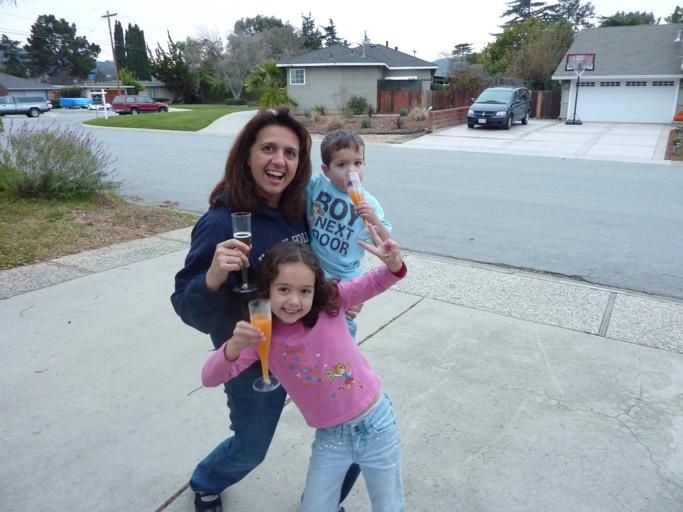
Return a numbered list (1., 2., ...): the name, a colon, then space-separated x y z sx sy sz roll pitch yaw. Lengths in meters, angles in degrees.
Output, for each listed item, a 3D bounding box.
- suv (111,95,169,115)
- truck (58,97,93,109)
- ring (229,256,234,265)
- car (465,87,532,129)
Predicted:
1. suv: -18.288 -13.539 40.431 4.295 1.583 1.707 -6 21 -19
2. truck: -33.146 -19.106 56.058 3.552 1.081 2.253 2 20 5
3. ring: -0.503 0.018 2.050 0.024 0.033 0.031 0 0 -2
4. car: 9.026 -8.473 25.700 1.950 2.251 4.376 16 25 38
